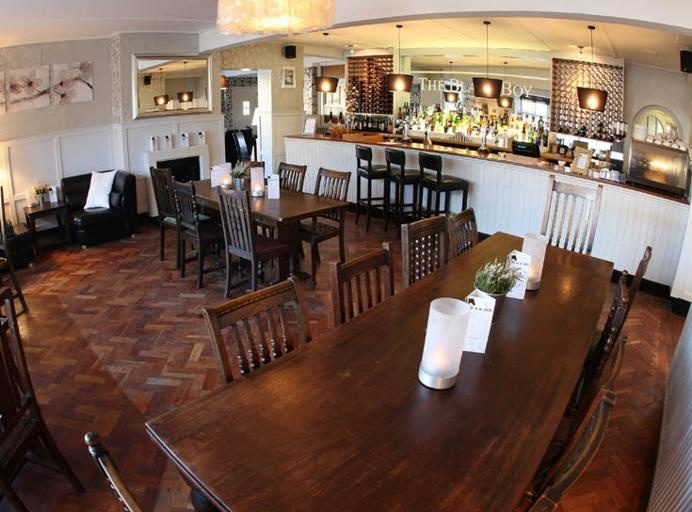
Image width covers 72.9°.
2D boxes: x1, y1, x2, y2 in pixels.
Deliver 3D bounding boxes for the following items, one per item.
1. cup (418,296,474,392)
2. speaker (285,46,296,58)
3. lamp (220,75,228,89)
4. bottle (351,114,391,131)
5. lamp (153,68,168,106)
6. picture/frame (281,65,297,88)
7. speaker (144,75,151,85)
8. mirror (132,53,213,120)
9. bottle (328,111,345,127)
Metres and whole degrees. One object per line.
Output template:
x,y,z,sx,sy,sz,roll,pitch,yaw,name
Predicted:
0.449,0.386,2.164,0.230,0.391,0.210,0,17,0,cup
-1.178,-4.358,9.954,0.196,0.232,0.210,4,8,32,speaker
-2.916,-4.222,11.185,0.120,0.293,1.229,-5,19,-15,lamp
0.570,-3.140,10.877,1.092,0.407,0.216,15,22,39,bottle
-2.905,-2.631,7.323,0.230,0.510,0.085,-11,19,-33,lamp
-1.255,-3.933,10.096,0.036,0.492,0.461,17,21,36,picture/frame
-3.044,-2.724,7.153,0.086,0.168,0.088,27,30,34,speaker
-2.756,-2.731,7.469,0.171,0.940,1.374,12,21,37,mirror
-0.231,-3.547,11.936,0.301,0.341,0.927,-9,20,-27,bottle
